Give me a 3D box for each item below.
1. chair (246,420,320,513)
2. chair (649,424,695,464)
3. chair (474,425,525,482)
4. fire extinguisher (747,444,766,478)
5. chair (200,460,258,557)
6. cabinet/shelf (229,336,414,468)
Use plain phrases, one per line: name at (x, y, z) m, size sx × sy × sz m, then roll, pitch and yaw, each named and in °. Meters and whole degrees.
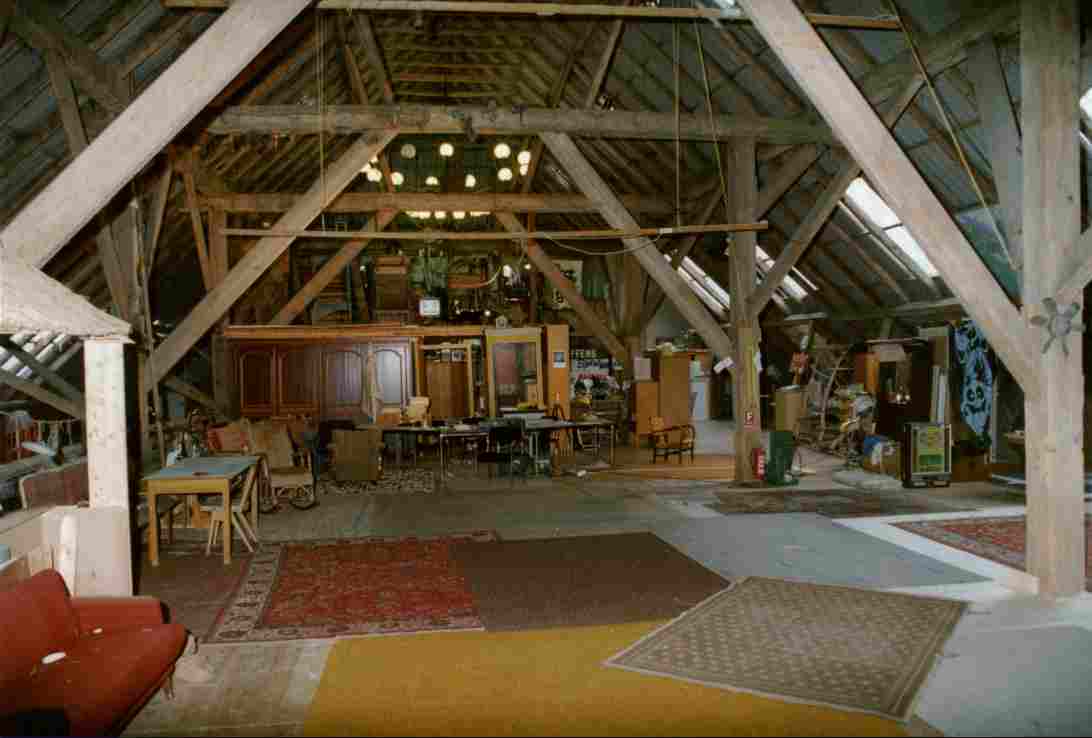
chair at (-3.872, 1.336, 12.796) m, size 0.883 × 1.118 × 2.081 m, roll -3°, pitch 6°, yaw -19°
chair at (2.270, 1.362, 15.891) m, size 0.722 × 0.871 × 0.756 m, roll 0°, pitch -3°, yaw -28°
chair at (-0.686, 1.352, 13.628) m, size 0.729 × 0.940 × 0.673 m, roll 1°, pitch 1°, yaw 18°
fire extinguisher at (3.248, 1.417, 13.541) m, size 0.156 × 0.556 × 0.315 m, roll -5°, pitch 8°, yaw -32°
chair at (-3.861, 1.629, 10.771) m, size 0.573 × 1.061 × 0.508 m, roll 12°, pitch -3°, yaw 1°
cabinet/shelf at (-4.212, 0.596, 15.794) m, size 2.408 × 2.227 × 0.777 m, roll -1°, pitch 0°, yaw -3°
